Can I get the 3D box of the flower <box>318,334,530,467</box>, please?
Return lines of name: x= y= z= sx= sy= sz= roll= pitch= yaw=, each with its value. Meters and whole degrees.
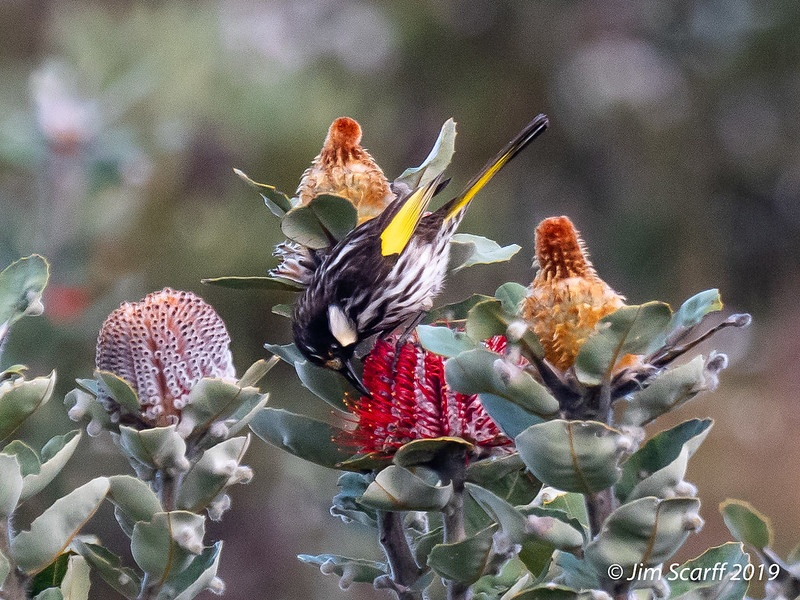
flower: x=0.023 y=0.128 z=1.900 sx=0.178 sy=0.172 sz=0.175 roll=-24 pitch=-12 yaw=-12

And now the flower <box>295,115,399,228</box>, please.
flower: x=-0.073 y=-0.165 z=2.013 sx=0.144 sy=0.162 sz=0.163 roll=-7 pitch=8 yaw=-14

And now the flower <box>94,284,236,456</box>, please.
flower: x=-0.305 y=0.071 z=1.989 sx=0.166 sy=0.162 sz=0.166 roll=-7 pitch=-5 yaw=-32
